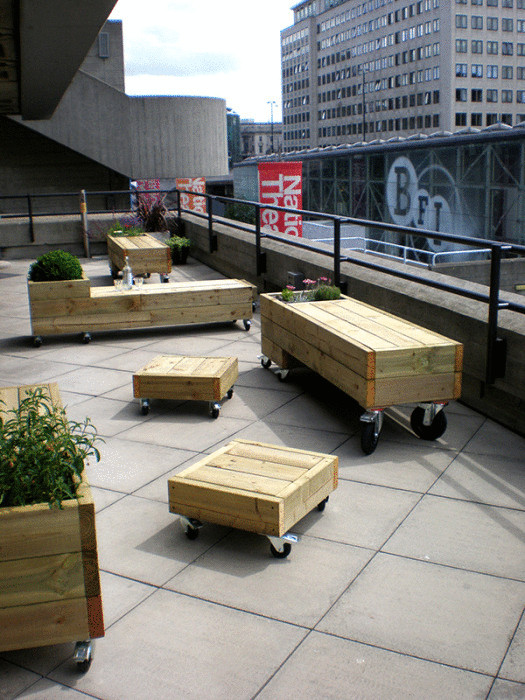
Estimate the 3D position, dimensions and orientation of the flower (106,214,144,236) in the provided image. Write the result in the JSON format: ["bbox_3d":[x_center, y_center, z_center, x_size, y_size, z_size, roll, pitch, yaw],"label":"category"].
[{"bbox_3d":[-3.436,-3.125,13.827,1.085,0.589,1.053,0,15,5],"label":"flower"}]

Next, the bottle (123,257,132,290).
[{"bbox_3d":[-1.850,-1.054,7.558,0.138,0.414,0.415,-3,12,-14],"label":"bottle"}]

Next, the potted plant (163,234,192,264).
[{"bbox_3d":[-1.973,-2.286,12.818,0.528,0.610,0.670,-2,11,-10],"label":"potted plant"}]
